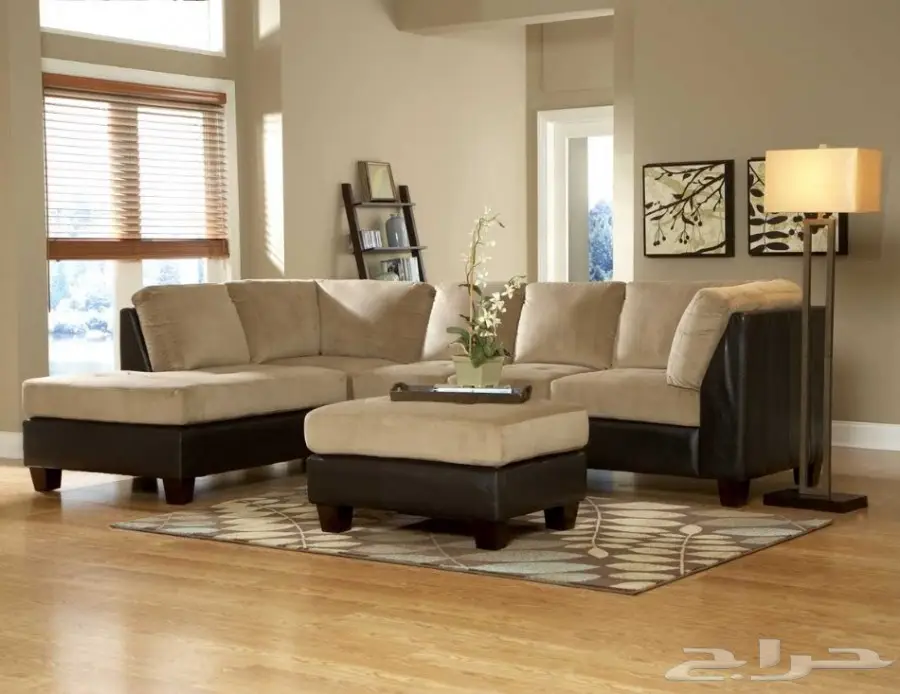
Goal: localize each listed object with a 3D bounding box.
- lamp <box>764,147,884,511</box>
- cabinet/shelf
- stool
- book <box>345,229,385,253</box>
[{"bbox_3d":[2.005,-0.138,4.243,0.518,1.836,1.237,0,1,28],"label":"lamp"},{"bbox_3d":[-0.593,-1.075,7.354,0.295,0.916,0.983,0,1,35],"label":"cabinet/shelf"},{"bbox_3d":[0.057,0.440,3.414,0.922,0.497,0.657,0,0,32],"label":"stool"},{"bbox_3d":[-0.726,-0.974,7.194,0.408,0.228,0.190,-1,1,-42],"label":"book"}]
